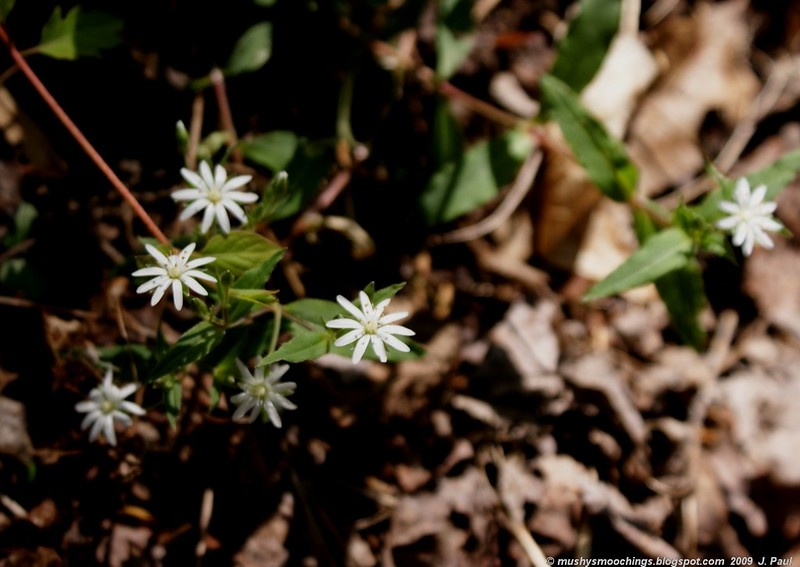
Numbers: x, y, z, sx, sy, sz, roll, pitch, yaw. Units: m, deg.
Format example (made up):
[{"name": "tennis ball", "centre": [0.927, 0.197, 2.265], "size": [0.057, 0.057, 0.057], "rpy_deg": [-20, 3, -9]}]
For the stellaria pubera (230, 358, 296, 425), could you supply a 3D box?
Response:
[{"name": "stellaria pubera", "centre": [-0.402, 0.324, 2.428], "size": [0.182, 0.153, 0.147], "rpy_deg": [4, -43, -6]}]
